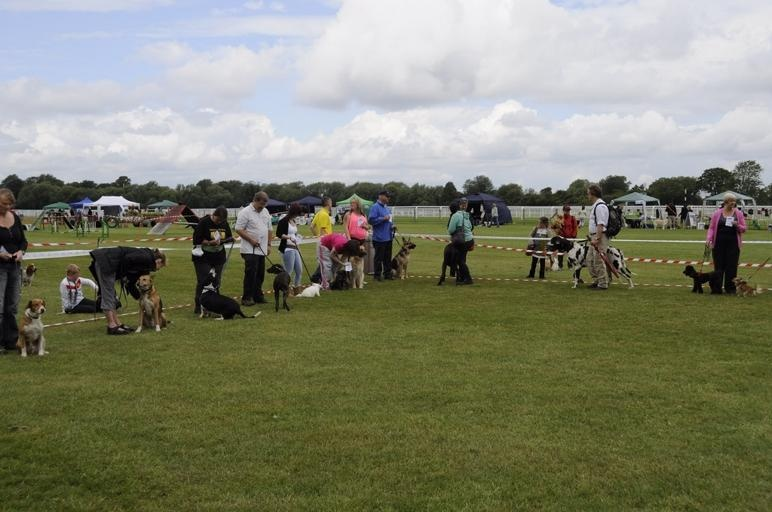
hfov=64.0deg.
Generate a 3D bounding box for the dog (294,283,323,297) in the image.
[{"bbox_3d":[-1.730,0.734,13.580,0.569,0.258,0.412,1,10,6],"label":"dog"}]

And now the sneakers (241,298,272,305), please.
[{"bbox_3d":[-2.636,0.941,12.724,0.534,0.225,0.178,-5,-1,2],"label":"sneakers"}]

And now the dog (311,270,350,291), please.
[{"bbox_3d":[-1.259,0.531,14.340,0.958,0.451,0.638,-6,11,-28],"label":"dog"}]

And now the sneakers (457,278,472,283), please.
[{"bbox_3d":[1.928,0.580,15.058,0.373,0.139,0.196,-2,10,-9],"label":"sneakers"}]

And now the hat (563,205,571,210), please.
[{"bbox_3d":[4.899,-1.348,16.783,0.217,0.097,0.233,0,3,5],"label":"hat"}]

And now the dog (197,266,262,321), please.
[{"bbox_3d":[-2.981,0.778,11.412,1.672,0.903,0.440,18,2,39],"label":"dog"}]

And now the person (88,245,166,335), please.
[{"bbox_3d":[-4.169,0.358,10.608,1.570,1.541,1.032,-3,14,-32],"label":"person"}]

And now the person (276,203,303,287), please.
[{"bbox_3d":[-2.052,-0.218,13.229,0.512,1.900,0.904,-2,11,-10],"label":"person"}]

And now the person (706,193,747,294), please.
[{"bbox_3d":[7.132,-0.258,13.036,0.647,2.199,1.112,5,12,28],"label":"person"}]

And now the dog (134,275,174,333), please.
[{"bbox_3d":[-4.024,0.870,10.755,0.444,0.877,1.437,-2,-11,-5],"label":"dog"}]

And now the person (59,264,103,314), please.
[{"bbox_3d":[-5.934,0.666,12.084,0.823,0.976,0.710,2,15,-3],"label":"person"}]

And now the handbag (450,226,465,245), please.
[{"bbox_3d":[1.738,-0.541,14.865,0.377,0.480,0.263,8,-11,-14],"label":"handbag"}]

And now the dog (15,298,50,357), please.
[{"bbox_3d":[-5.337,1.067,9.361,0.417,0.851,1.124,3,-8,-37],"label":"dog"}]
